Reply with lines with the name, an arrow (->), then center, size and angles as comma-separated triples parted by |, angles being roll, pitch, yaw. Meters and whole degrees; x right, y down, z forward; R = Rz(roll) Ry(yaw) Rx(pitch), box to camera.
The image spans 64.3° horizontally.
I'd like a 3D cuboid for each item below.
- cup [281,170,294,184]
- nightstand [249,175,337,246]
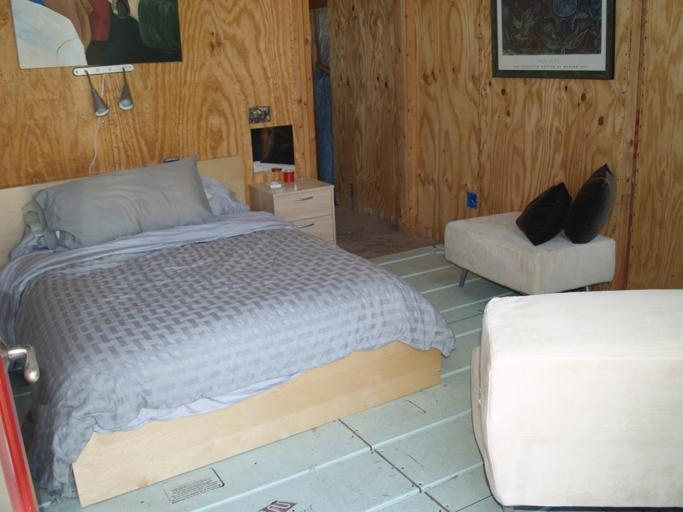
cup -> -0.465, -0.679, 4.715 | 0.118, 0.091, 0.119 | 1, 22, 0
nightstand -> -0.391, -0.303, 4.682 | 0.610, 0.549, 0.503 | -14, 16, -37
